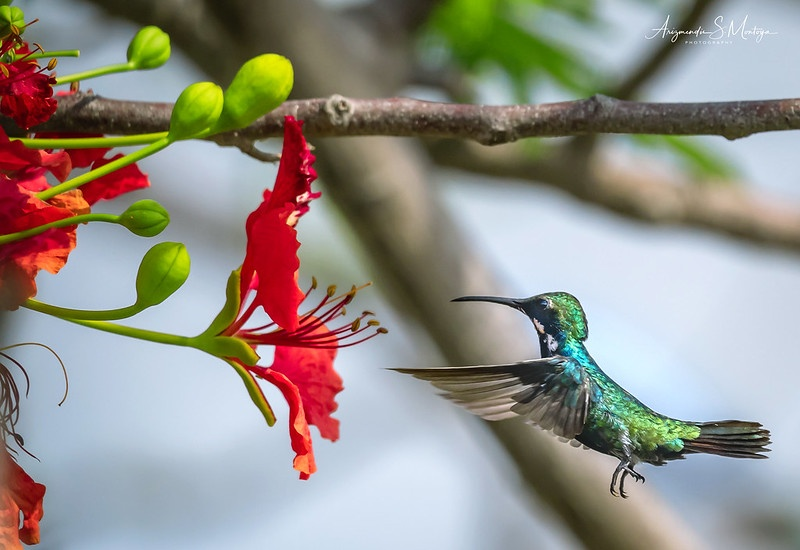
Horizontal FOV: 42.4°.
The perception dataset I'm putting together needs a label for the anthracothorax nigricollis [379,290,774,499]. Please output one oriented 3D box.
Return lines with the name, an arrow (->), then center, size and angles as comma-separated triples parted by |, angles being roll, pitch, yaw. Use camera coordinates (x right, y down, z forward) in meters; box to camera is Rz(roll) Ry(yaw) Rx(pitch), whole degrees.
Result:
anthracothorax nigricollis -> 0.384, 0.238, 2.069 | 0.682, 0.386, 0.412 | 4, -3, 16
